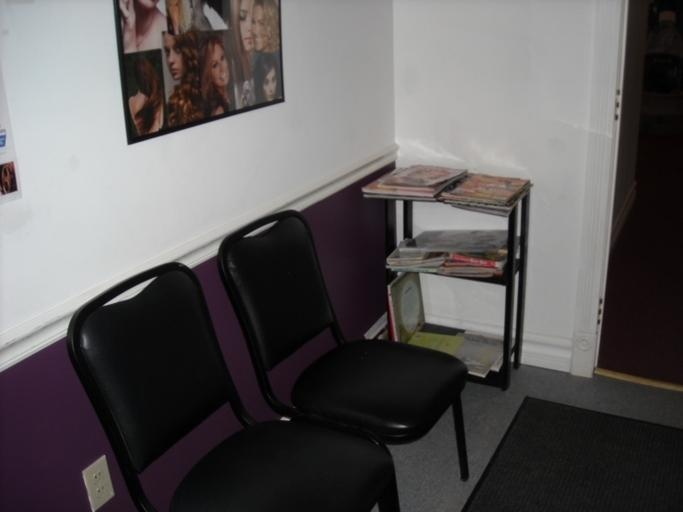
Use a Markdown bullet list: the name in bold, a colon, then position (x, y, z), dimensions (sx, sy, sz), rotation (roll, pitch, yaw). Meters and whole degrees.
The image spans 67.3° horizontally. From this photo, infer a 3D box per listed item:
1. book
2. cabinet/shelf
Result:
- **book**: position (0.499, 0.061, 2.439), dimensions (0.640, 1.157, 0.565), rotation (9, 29, 28)
- **cabinet/shelf**: position (0.559, 0.112, 2.421), dimensions (0.702, 1.297, 0.398), rotation (8, 20, 28)
